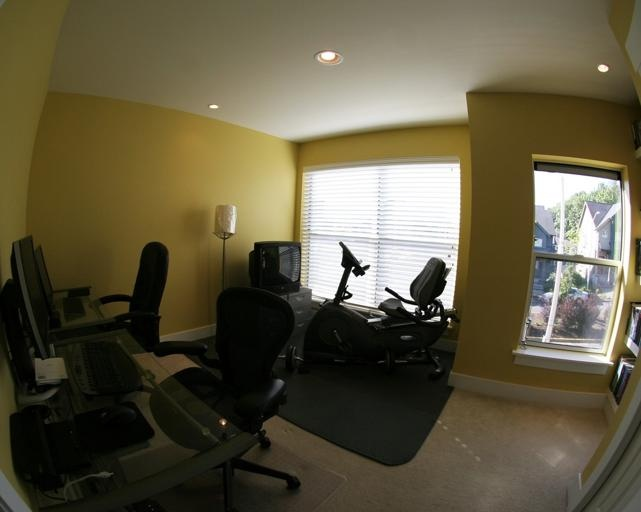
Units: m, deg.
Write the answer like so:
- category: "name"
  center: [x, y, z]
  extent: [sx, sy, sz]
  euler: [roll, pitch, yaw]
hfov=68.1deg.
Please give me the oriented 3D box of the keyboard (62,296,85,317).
- category: "keyboard"
  center: [-1.802, 0.377, 3.468]
  extent: [0.095, 0.059, 0.228]
  euler: [1, 5, -31]

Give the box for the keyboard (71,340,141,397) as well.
- category: "keyboard"
  center: [-1.157, 0.606, 2.531]
  extent: [0.302, 0.058, 0.633]
  euler: [2, 13, -32]

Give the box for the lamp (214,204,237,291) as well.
- category: "lamp"
  center: [-1.004, -0.090, 5.037]
  extent: [0.219, 0.950, 0.376]
  euler: [-2, 14, -13]

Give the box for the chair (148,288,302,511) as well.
- category: "chair"
  center: [-0.654, 0.632, 3.261]
  extent: [1.073, 1.595, 0.991]
  euler: [2, -1, 32]
